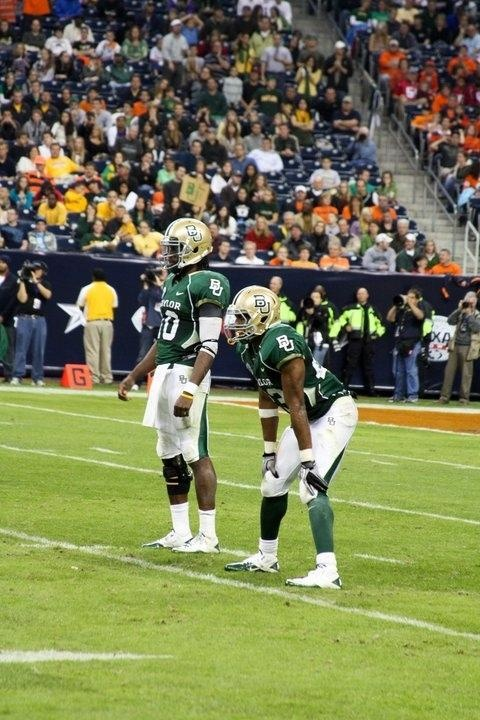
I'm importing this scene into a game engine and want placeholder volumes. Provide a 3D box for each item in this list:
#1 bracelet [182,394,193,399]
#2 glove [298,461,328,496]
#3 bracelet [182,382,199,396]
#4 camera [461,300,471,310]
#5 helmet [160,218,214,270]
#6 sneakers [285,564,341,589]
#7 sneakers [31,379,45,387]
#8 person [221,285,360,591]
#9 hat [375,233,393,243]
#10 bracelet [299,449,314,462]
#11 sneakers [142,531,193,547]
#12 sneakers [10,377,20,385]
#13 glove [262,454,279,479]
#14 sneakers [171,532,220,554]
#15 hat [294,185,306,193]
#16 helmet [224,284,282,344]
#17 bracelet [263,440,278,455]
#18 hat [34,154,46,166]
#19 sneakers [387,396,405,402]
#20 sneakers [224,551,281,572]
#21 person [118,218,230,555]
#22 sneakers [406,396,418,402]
[{"bbox_3d":[-0.293,0.198,6.785,0.037,0.010,0.039,14,-4,17],"label":"bracelet"},{"bbox_3d":[0.370,0.600,6.250,0.117,0.182,0.083,-20,-8,-36],"label":"glove"},{"bbox_3d":[-0.287,0.175,6.847,0.086,0.066,0.069,17,-21,-6],"label":"bracelet"},{"bbox_3d":[3.635,-0.894,19.642,0.105,0.112,0.104,-11,46,-9],"label":"camera"},{"bbox_3d":[-0.336,-0.695,7.302,0.339,0.304,0.255,-2,6,-16],"label":"helmet"},{"bbox_3d":[0.351,1.123,6.341,0.341,0.150,0.116,2,0,8],"label":"sneakers"},{"bbox_3d":[-2.922,0.335,17.694,0.087,0.098,0.215,1,-3,-38],"label":"sneakers"},{"bbox_3d":[0.278,0.390,6.506,0.688,1.595,0.712,2,0,-17],"label":"person"},{"bbox_3d":[2.517,-2.144,21.252,0.259,0.136,0.164,-1,15,-8],"label":"hat"},{"bbox_3d":[0.338,0.485,6.203,0.057,0.068,0.071,-3,-6,5],"label":"bracelet"},{"bbox_3d":[-0.425,1.067,7.243,0.302,0.114,0.100,0,9,1],"label":"sneakers"},{"bbox_3d":[-3.230,0.299,17.530,0.110,0.075,0.170,2,-2,-6],"label":"sneakers"},{"bbox_3d":[0.159,0.569,6.547,0.048,0.123,0.072,-6,11,38],"label":"glove"},{"bbox_3d":[-0.241,1.078,7.177,0.319,0.137,0.107,1,0,2],"label":"sneakers"},{"bbox_3d":[1.123,-3.219,22.821,0.322,0.151,0.516,0,5,4],"label":"hat"},{"bbox_3d":[0.044,-0.244,6.568,0.341,0.289,0.250,-11,4,-12],"label":"helmet"},{"bbox_3d":[0.163,0.482,6.652,0.062,0.074,0.077,-1,-3,-3],"label":"bracelet"},{"bbox_3d":[-3.408,-3.401,20.743,0.080,0.185,0.355,2,0,15],"label":"hat"},{"bbox_3d":[2.570,0.661,20.113,0.286,0.127,0.102,10,-4,-22],"label":"sneakers"},{"bbox_3d":[0.079,1.120,6.731,0.334,0.143,0.111,3,-3,-2],"label":"sneakers"},{"bbox_3d":[-0.359,0.117,7.250,0.582,1.991,0.945,2,0,-10],"label":"person"},{"bbox_3d":[2.819,0.649,20.097,0.181,0.104,0.299,2,0,5],"label":"sneakers"}]
